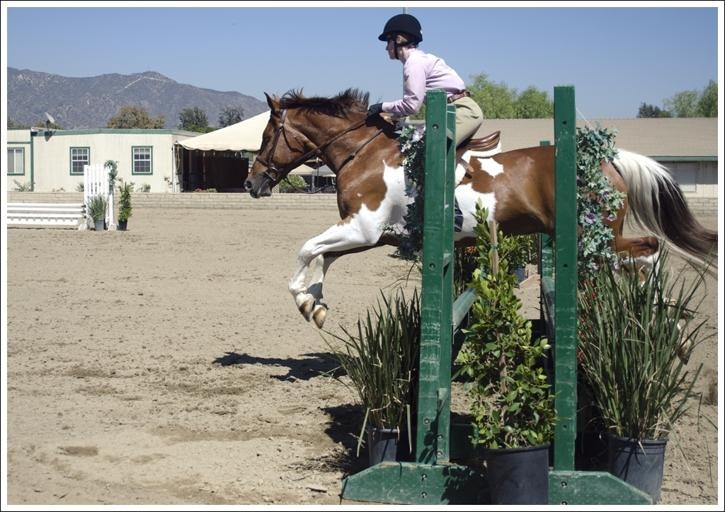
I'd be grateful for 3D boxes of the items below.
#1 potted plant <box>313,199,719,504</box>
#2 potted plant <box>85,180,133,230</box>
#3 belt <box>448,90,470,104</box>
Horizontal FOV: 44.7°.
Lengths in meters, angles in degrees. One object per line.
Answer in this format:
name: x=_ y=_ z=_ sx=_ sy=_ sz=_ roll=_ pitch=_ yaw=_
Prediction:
potted plant: x=1.253 y=0.585 z=7.123 sx=2.427 sy=2.761 sz=2.071 roll=2 pitch=6 yaw=12
potted plant: x=-5.519 y=-1.127 z=18.901 sx=1.169 sy=1.256 sz=0.560 roll=2 pitch=7 yaw=-25
belt: x=0.856 y=-1.431 z=7.885 sx=0.136 sy=0.042 sz=0.138 roll=-16 pitch=11 yaw=-20
